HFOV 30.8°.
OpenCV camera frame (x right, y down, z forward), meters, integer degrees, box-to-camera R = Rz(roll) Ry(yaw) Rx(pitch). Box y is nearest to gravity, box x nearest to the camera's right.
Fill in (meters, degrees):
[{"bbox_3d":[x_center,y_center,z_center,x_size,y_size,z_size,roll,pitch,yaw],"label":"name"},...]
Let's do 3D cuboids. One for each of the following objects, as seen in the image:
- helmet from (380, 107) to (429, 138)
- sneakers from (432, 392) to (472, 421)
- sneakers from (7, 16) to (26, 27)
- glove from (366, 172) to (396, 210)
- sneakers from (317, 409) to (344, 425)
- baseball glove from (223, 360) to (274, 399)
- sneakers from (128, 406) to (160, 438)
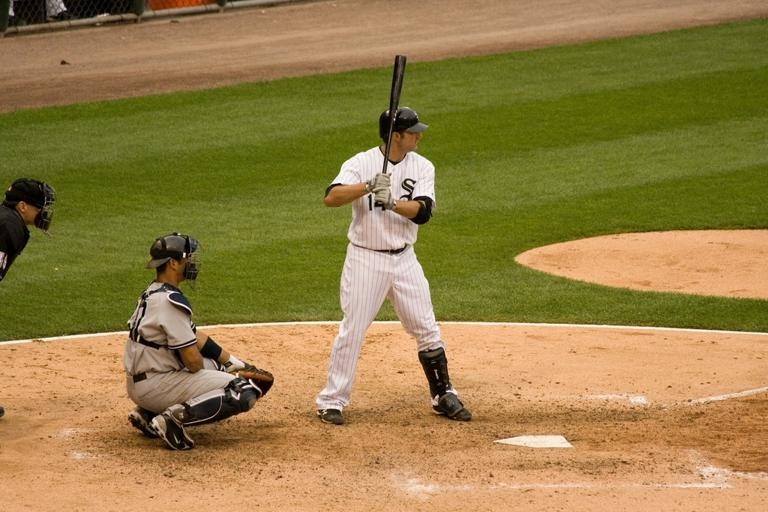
[{"bbox_3d":[0.249,-1.733,18.278,0.586,0.230,0.371,-5,13,5],"label":"helmet"},{"bbox_3d":[0.897,1.988,18.356,0.316,0.230,0.550,-30,40,-28],"label":"sneakers"},{"bbox_3d":[-7.256,-4.550,27.209,0.218,0.201,0.495,1,14,11],"label":"sneakers"},{"bbox_3d":[-0.021,-0.840,17.908,0.505,0.413,0.160,25,-27,-22],"label":"glove"},{"bbox_3d":[-0.717,2.112,18.253,0.346,0.117,0.170,5,8,44],"label":"sneakers"},{"bbox_3d":[-1.728,1.575,18.048,0.800,0.316,0.315,25,20,-3],"label":"baseball glove"},{"bbox_3d":[-3.071,2.137,17.803,0.228,0.428,0.163,-54,5,-34],"label":"sneakers"}]
